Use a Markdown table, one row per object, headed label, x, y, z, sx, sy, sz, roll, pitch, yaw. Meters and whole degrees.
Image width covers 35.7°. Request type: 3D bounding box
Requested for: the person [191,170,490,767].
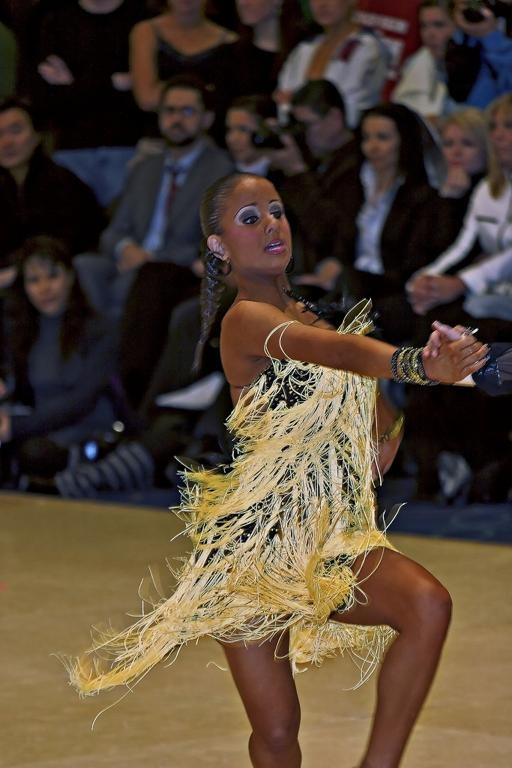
| label | x | y | z | sx | sy | sz | roll | pitch | yaw |
| --- | --- | --- | --- | --- | --- | --- | --- | --- | --- |
| person | 0.104 | 0.116 | 1.289 | 0.344 | 0.970 | 0.660 | -2 | 7 | -4 |
